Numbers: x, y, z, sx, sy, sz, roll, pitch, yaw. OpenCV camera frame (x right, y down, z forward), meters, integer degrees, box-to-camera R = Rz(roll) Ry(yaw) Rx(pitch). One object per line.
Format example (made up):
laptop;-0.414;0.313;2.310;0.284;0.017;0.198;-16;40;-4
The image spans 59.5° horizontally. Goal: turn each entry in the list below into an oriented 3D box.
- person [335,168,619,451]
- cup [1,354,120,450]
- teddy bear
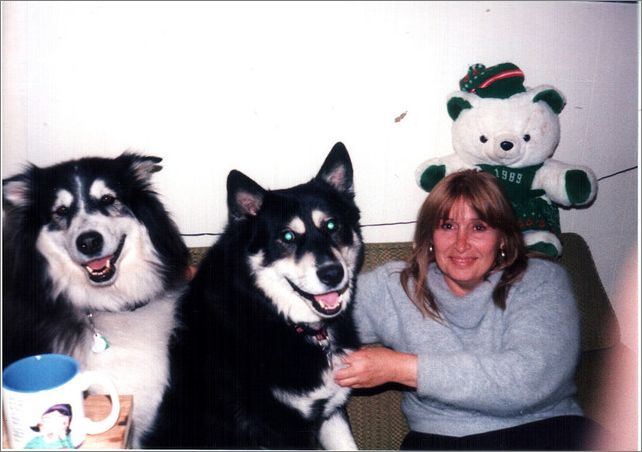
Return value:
person;0.533;0.345;2.126;0.965;0.944;0.559;-2;29;2
cup;-0.848;0.561;1.896;0.368;0.269;0.240;1;15;-6
teddy bear;0.764;-0.287;2.324;0.672;0.731;0.451;4;31;21
